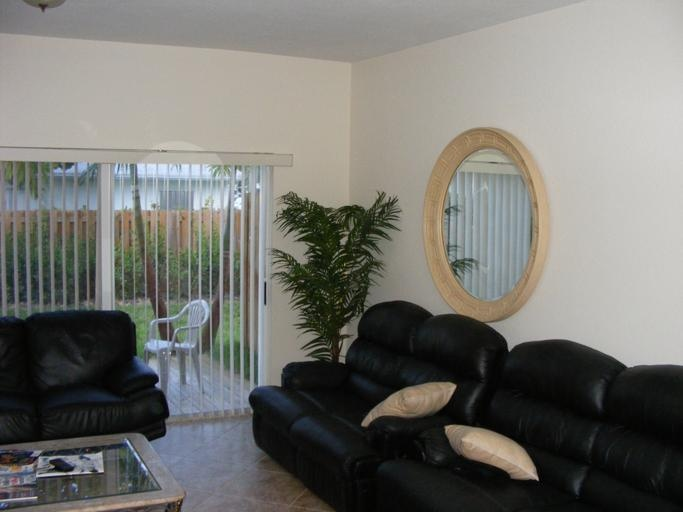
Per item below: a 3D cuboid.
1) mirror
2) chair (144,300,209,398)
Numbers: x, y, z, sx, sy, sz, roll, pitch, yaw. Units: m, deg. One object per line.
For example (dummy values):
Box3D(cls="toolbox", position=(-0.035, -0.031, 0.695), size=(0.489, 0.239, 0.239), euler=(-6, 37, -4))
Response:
Box3D(cls="mirror", position=(1.093, -0.228, 4.051), size=(0.169, 1.534, 1.285), euler=(2, -10, -33))
Box3D(cls="chair", position=(-1.553, 0.831, 5.203), size=(0.568, 0.804, 0.580), euler=(1, 3, -21))
